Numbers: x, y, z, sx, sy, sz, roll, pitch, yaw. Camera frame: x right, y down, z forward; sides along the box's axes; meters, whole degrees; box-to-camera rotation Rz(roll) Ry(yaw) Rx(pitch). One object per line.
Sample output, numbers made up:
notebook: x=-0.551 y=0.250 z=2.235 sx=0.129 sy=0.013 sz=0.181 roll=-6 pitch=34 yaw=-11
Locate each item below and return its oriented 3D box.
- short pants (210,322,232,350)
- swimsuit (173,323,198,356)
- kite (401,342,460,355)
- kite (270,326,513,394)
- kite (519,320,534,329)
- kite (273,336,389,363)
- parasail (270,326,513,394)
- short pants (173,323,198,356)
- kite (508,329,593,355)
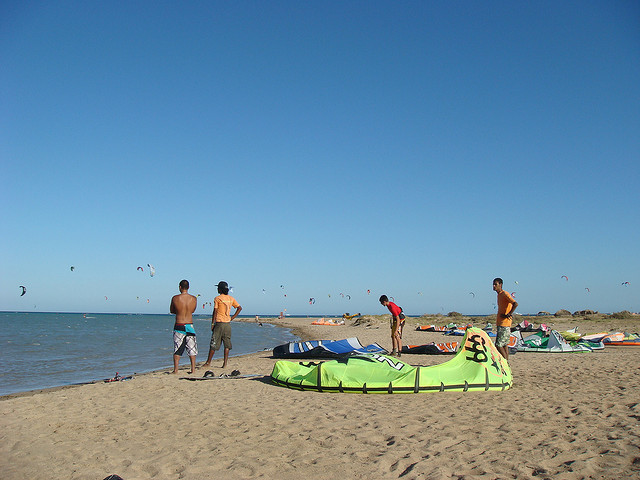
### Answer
short pants: x=-2.309 y=2.217 z=11.838 sx=0.326 sy=0.609 sz=0.586 roll=-4 pitch=-10 yaw=23
swimsuit: x=-2.965 y=2.153 z=11.325 sx=0.639 sy=0.774 sz=0.438 roll=2 pitch=-2 yaw=2
kite: x=3.349 y=3.274 z=15.332 sx=1.758 sy=0.336 sz=0.731 roll=-2 pitch=-2 yaw=-6
kite: x=1.427 y=2.313 z=9.940 sx=4.261 sy=1.201 sz=1.314 roll=-3 pitch=-10 yaw=18
kite: x=10.303 y=4.251 z=25.655 sx=0.383 sy=0.171 sz=0.482 roll=-7 pitch=4 yaw=4
kite: x=0.245 y=3.059 z=14.298 sx=2.248 sy=0.425 sz=1.333 roll=-1 pitch=-7 yaw=4
parasail: x=1.385 y=2.550 z=10.845 sx=4.982 sy=1.398 sz=3.719 roll=-2 pitch=-15 yaw=8
short pants: x=-2.989 y=2.149 z=11.310 sx=0.572 sy=0.714 sz=0.414 roll=1 pitch=1 yaw=-6
kite: x=7.102 y=3.233 z=15.665 sx=2.482 sy=0.704 sz=1.798 roll=-5 pitch=-9 yaw=16
